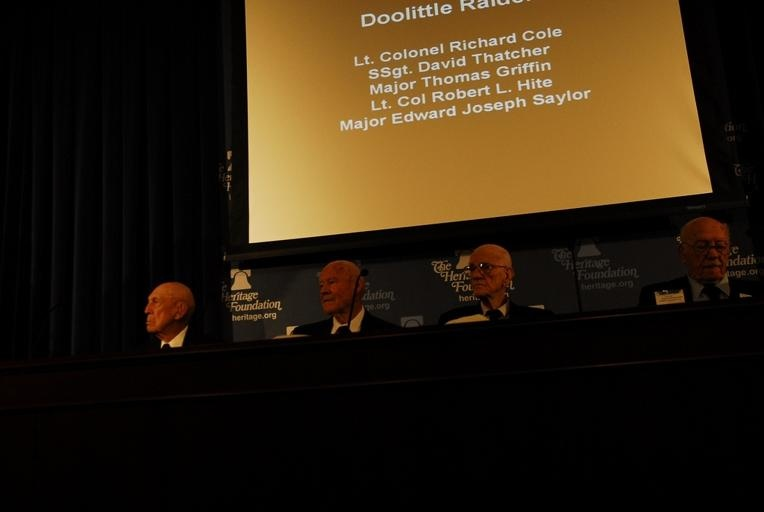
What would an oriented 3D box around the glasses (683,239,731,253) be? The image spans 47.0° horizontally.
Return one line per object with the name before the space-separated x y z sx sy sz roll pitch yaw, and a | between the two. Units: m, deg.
glasses | 1.815 -0.059 4.950 0.247 0.086 0.058 -4 9 9
